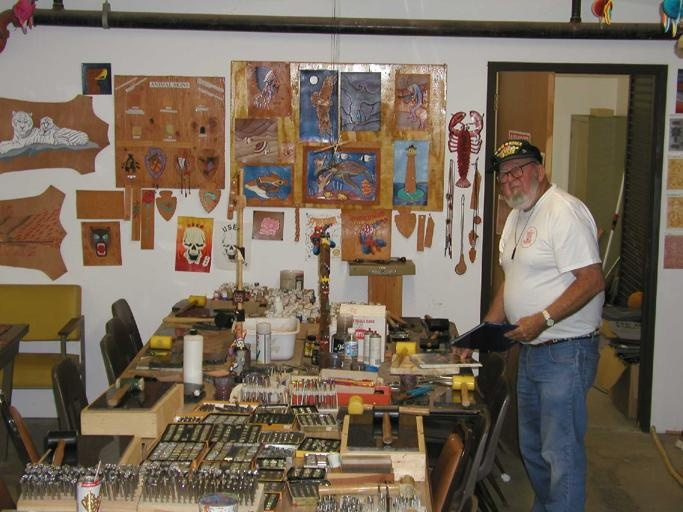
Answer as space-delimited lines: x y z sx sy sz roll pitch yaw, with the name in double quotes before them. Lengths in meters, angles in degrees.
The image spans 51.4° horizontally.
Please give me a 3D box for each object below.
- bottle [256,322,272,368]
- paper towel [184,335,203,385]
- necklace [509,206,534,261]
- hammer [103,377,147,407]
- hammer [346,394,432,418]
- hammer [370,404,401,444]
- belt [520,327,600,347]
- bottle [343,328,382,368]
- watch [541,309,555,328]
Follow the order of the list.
"bottle" -0.502 0.564 4.595 0.102 0.255 0.108 1 2 0
"paper towel" -0.873 0.603 4.199 0.114 0.296 0.190 0 2 -13
"necklace" 1.123 -0.129 4.503 0.007 0.324 0.083 35 -32 -21
"hammer" -1.161 0.721 3.847 0.195 0.115 0.340 0 2 -18
"hammer" 0.248 0.834 3.933 0.500 0.152 0.134 -1 2 2
"hammer" 0.226 0.865 3.543 0.132 0.140 0.281 2 12 0
"belt" 1.330 0.496 4.318 0.453 0.142 0.297 1 2 18
"bottle" 0.146 0.604 4.616 0.255 0.311 0.171 3 1 11
"watch" 1.206 0.366 4.161 0.060 0.100 0.091 -31 -10 8
